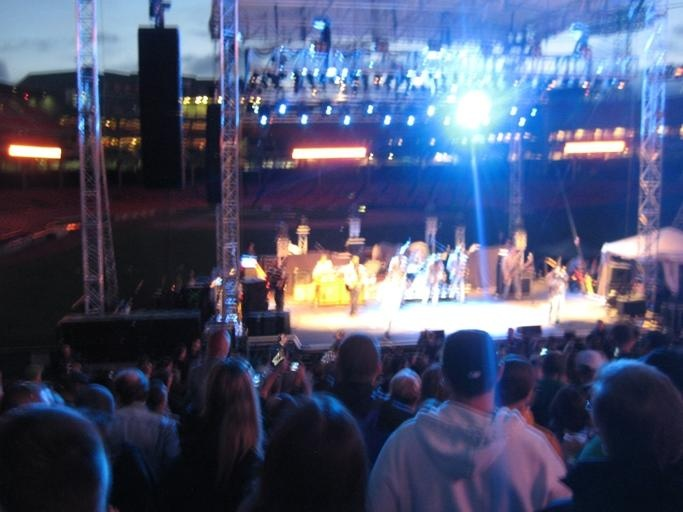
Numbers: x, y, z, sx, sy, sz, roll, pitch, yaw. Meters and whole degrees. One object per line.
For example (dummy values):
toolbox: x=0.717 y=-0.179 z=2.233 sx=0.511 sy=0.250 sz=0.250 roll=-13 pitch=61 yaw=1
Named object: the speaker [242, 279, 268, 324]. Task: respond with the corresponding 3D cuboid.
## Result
speaker: x=-2.333 y=1.110 z=19.193 sx=0.891 sy=1.517 sz=0.854 roll=-1 pitch=-2 yaw=-15
